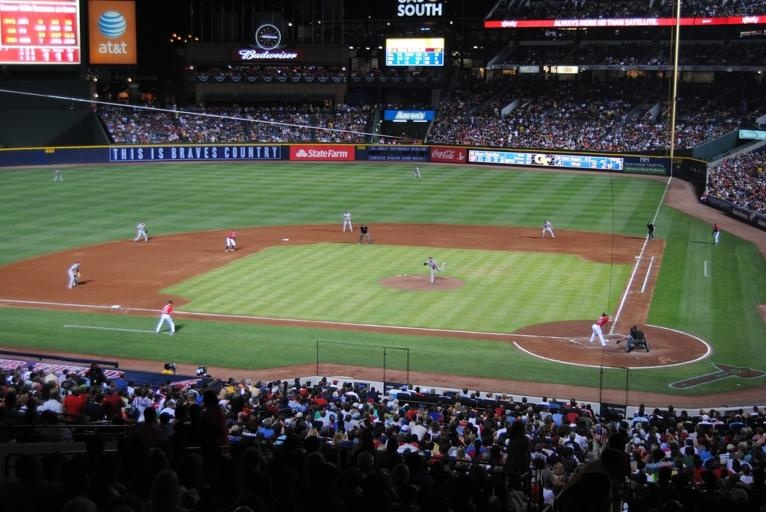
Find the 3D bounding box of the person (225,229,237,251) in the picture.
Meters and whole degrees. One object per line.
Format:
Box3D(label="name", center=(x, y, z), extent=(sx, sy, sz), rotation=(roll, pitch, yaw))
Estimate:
Box3D(label="person", center=(-9.950, -1.069, 53.901), extent=(0.835, 1.193, 2.450), rotation=(-1, 12, -11))
